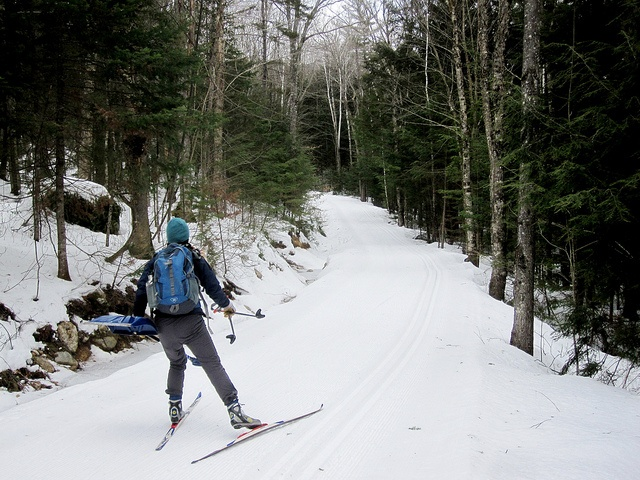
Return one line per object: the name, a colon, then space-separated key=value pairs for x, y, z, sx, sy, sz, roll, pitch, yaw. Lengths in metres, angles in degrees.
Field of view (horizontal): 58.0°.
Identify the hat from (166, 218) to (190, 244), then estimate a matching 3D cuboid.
hat: x=-2.438 y=-0.175 z=9.974 sx=0.372 sy=0.425 sz=0.427 roll=12 pitch=19 yaw=43
